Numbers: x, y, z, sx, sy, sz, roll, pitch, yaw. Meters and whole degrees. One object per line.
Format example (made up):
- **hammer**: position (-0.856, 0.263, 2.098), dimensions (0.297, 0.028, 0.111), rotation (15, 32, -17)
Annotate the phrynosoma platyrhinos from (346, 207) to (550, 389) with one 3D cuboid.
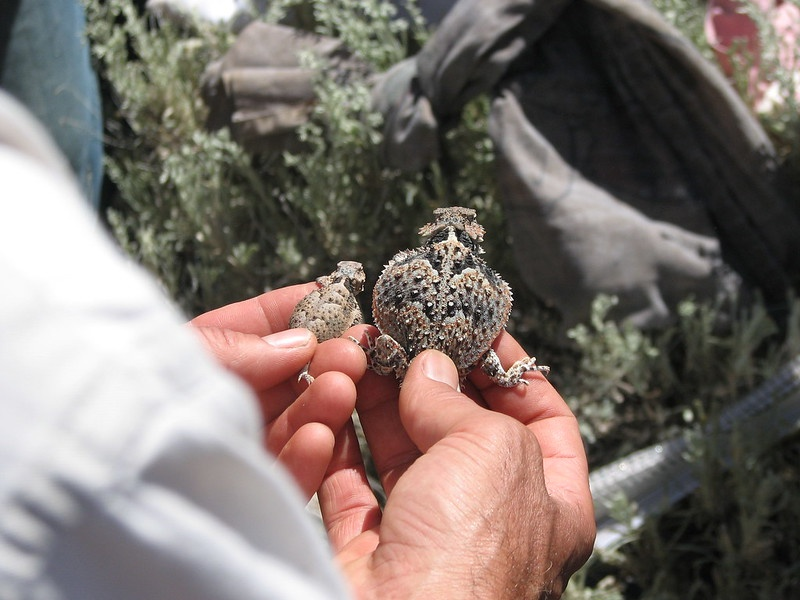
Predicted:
- **phrynosoma platyrhinos**: position (0.160, 0.015, 3.382), dimensions (0.553, 0.251, 0.719), rotation (6, 68, 2)
